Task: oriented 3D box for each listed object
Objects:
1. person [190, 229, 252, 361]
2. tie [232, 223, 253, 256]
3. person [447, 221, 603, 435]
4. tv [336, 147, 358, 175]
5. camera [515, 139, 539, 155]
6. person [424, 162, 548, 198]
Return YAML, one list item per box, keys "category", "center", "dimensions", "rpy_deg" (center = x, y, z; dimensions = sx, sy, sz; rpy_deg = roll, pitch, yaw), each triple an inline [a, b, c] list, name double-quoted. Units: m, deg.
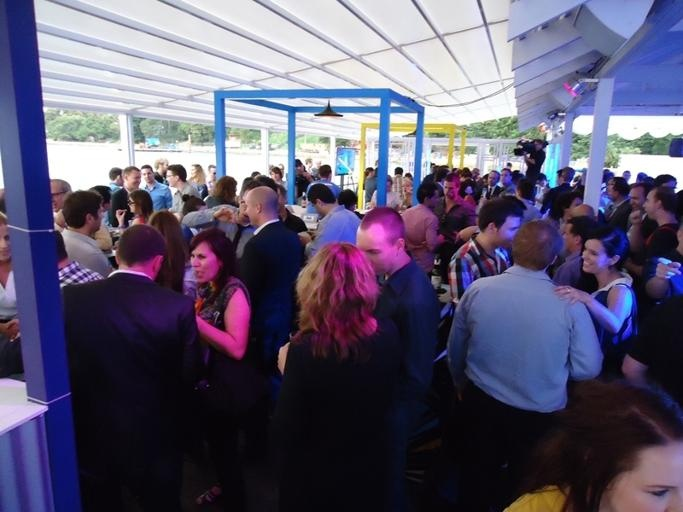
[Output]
- category: "person"
  center: [-0.714, 0.231, 2.842]
  dimensions: [0.336, 0.725, 0.378]
  rpy_deg: [0, 11, -11]
- category: "tie"
  center: [-0.886, -0.139, 4.377]
  dimensions: [0.286, 0.303, 0.091]
  rpy_deg: [2, -5, 33]
- category: "person"
  center: [1.020, 0.388, 2.710]
  dimensions: [0.851, 1.159, 0.516]
  rpy_deg: [11, 28, 35]
- category: "tv"
  center: [0.160, -3.524, 17.986]
  dimensions: [0.604, 1.016, 1.454]
  rpy_deg: [2, 11, 3]
- category: "camera"
  center: [3.490, -2.036, 9.121]
  dimensions: [0.326, 0.224, 0.457]
  rpy_deg: [2, 19, 30]
- category: "person"
  center: [2.194, -1.254, 7.944]
  dimensions: [1.471, 0.392, 1.670]
  rpy_deg: [8, 11, 24]
